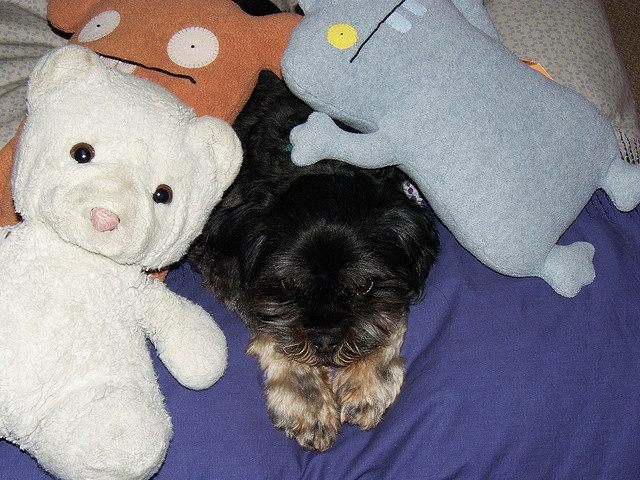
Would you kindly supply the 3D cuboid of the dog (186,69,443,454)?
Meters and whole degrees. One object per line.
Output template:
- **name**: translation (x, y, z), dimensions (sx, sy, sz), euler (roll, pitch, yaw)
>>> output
- **dog**: translation (0.016, 0.205, 3.202), dimensions (0.864, 1.618, 0.592), euler (-7, -3, -9)
